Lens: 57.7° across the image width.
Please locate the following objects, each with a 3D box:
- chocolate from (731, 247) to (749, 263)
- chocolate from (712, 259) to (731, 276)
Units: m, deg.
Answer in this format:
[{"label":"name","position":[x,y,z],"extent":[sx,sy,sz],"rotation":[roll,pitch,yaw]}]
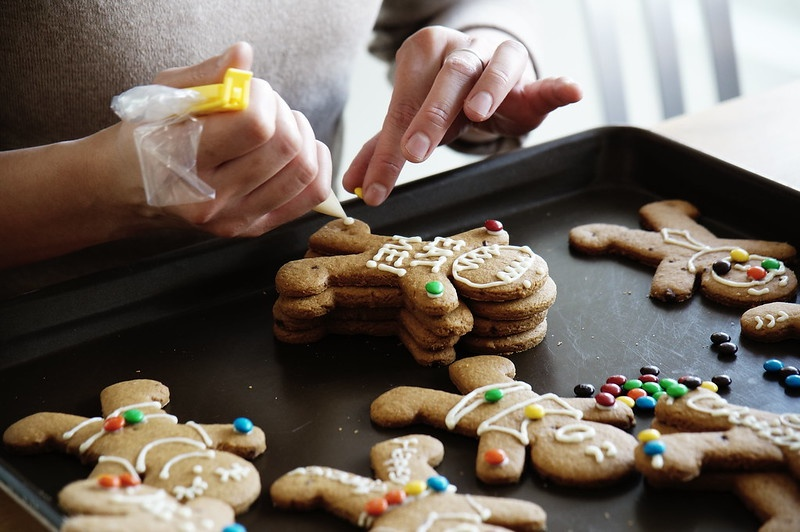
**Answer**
[{"label":"chocolate","position":[1.100,-0.033,2.347],"extent":[0.041,0.029,0.051],"rotation":[-13,25,-10]},{"label":"chocolate","position":[1.030,0.001,2.330],"extent":[0.049,0.027,0.049],"rotation":[-13,41,-12]}]
